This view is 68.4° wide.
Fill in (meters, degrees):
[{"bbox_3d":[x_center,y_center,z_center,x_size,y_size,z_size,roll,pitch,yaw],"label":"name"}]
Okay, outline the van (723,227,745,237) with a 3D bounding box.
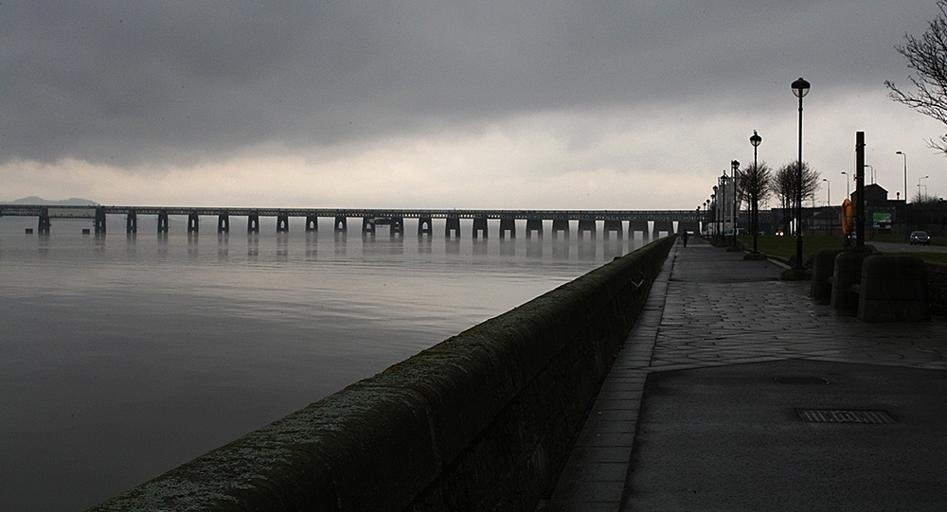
[{"bbox_3d":[48.417,-4.519,130.102,3.326,1.304,4.899,-1,3,36],"label":"van"}]
